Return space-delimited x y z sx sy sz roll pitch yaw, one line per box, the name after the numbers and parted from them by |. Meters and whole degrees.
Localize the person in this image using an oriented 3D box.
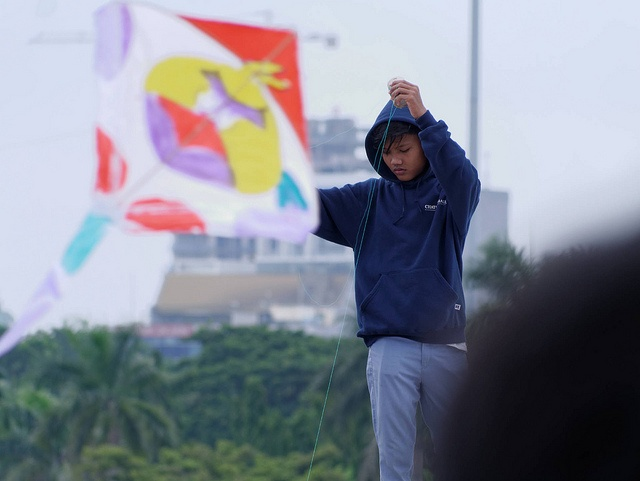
0.571 0.261 9.957 0.981 2.644 0.334 -1 -1 8 | person

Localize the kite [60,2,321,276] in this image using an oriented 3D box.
-0.886 -0.741 10.272 1.536 1.904 0.119 -2 -1 -3 | kite
